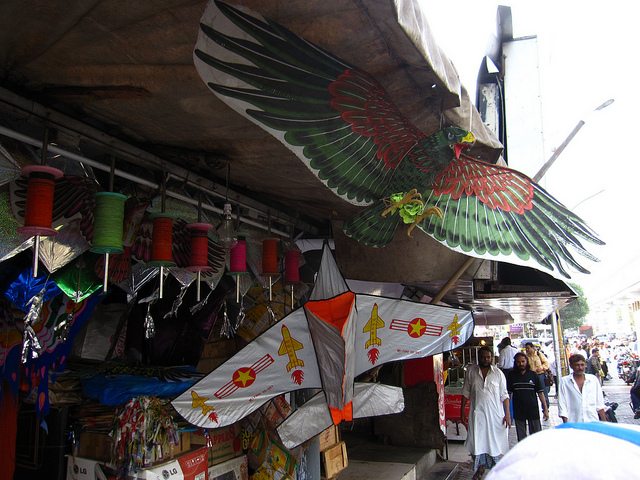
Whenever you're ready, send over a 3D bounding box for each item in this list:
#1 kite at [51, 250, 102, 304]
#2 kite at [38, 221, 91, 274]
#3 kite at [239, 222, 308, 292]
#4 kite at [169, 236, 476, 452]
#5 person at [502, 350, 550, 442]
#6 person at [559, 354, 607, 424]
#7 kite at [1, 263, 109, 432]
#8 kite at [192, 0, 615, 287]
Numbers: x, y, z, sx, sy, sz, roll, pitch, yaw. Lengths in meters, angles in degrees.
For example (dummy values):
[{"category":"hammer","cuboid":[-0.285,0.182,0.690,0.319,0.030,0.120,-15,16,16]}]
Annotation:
[{"category":"kite","cuboid":[-2.342,0.336,5.494,0.567,0.714,0.054,2,-6,-44]},{"category":"kite","cuboid":[-2.305,0.052,5.138,0.069,0.345,0.350,23,-19,49]},{"category":"kite","cuboid":[-0.693,0.303,7.817,0.312,0.739,0.801,-2,-6,28]},{"category":"kite","cuboid":[0.151,1.107,5.883,3.367,1.950,0.518,-14,3,-18]},{"category":"person","cuboid":[3.058,2.520,8.576,0.722,1.595,0.470,-6,4,3]},{"category":"person","cuboid":[3.516,2.005,7.766,0.554,0.882,0.254,-6,-13,26]},{"category":"kite","cuboid":[-2.880,1.200,6.147,0.407,1.763,1.178,35,15,10]},{"category":"kite","cuboid":[0.607,-0.582,4.976,3.575,1.781,0.870,6,-13,-27]}]
